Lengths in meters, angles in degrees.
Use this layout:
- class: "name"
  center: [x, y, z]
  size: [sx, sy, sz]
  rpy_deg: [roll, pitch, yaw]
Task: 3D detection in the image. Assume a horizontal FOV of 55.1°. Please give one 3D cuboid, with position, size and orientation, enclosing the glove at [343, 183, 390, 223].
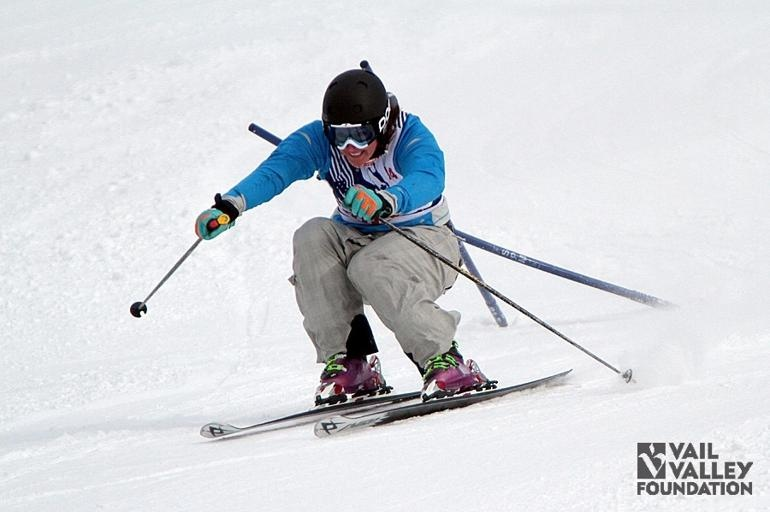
- class: "glove"
  center: [-0.132, -0.322, 4.824]
  size: [0.292, 0.121, 0.207]
  rpy_deg: [35, 72, -4]

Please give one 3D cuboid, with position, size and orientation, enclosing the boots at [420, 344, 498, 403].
- class: "boots"
  center: [0.459, 0.768, 5.027]
  size: [0.689, 0.216, 0.357]
  rpy_deg: [-4, 71, -34]
